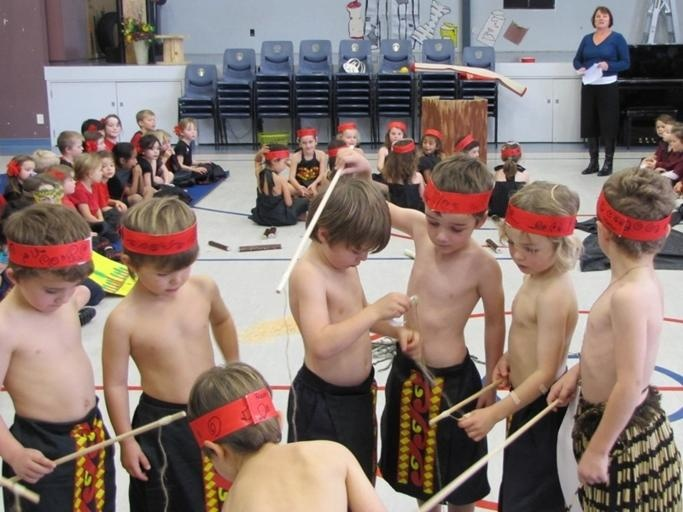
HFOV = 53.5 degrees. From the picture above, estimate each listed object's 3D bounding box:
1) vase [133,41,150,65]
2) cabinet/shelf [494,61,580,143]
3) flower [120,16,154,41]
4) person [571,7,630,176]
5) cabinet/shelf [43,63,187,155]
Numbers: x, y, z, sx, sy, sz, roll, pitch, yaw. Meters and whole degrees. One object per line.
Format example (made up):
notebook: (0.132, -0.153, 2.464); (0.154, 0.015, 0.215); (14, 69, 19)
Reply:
vase: (-3.195, -3.288, 10.891); (0.226, 0.395, 0.240); (-16, 32, -27)
cabinet/shelf: (3.064, -2.337, 10.728); (1.333, 1.419, 0.814); (1, -4, 0)
flower: (-3.300, -3.717, 11.049); (0.442, 0.443, 0.809); (-3, 12, -28)
person: (3.161, -1.900, 8.378); (0.607, 1.772, 0.537); (5, 11, 19)
cabinet/shelf: (-3.510, -2.495, 10.940); (1.844, 1.390, 1.067); (0, 10, 0)
